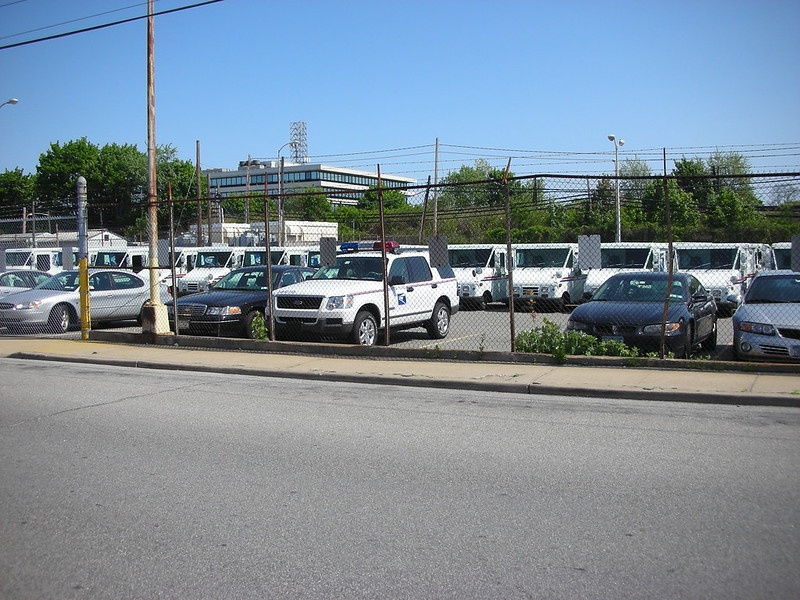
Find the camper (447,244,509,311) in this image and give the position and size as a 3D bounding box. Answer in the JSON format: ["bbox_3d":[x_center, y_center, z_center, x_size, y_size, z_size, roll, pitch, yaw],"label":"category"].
[{"bbox_3d":[2.764,-0.965,25.718,2.322,2.258,3.582,9,7,29],"label":"camper"}]

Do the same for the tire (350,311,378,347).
[{"bbox_3d":[-0.790,0.578,15.648,0.323,0.753,0.864,1,6,20],"label":"tire"}]

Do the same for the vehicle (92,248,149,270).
[{"bbox_3d":[-10.012,-1.524,26.336,1.042,0.903,1.572,0,-3,19],"label":"vehicle"}]

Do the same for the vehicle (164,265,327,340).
[{"bbox_3d":[-3.648,-0.055,17.697,1.423,1.174,3.204,-1,1,25],"label":"vehicle"}]

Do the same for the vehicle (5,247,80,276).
[{"bbox_3d":[-13.524,-1.500,27.771,1.893,1.096,1.340,0,1,-25],"label":"vehicle"}]

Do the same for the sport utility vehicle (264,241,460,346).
[{"bbox_3d":[-0.624,-0.041,16.667,1.943,1.756,3.664,-2,-2,34],"label":"sport utility vehicle"}]

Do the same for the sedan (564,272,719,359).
[{"bbox_3d":[4.819,0.260,14.555,2.114,1.819,3.348,4,8,37],"label":"sedan"}]

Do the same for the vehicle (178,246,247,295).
[{"bbox_3d":[-6.907,-1.217,26.477,1.568,1.752,2.897,0,3,10],"label":"vehicle"}]

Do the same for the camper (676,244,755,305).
[{"bbox_3d":[9.161,-1.060,21.912,1.964,2.172,3.557,-1,1,32],"label":"camper"}]

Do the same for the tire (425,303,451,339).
[{"bbox_3d":[0.892,0.437,17.651,0.242,0.809,0.715,2,6,33],"label":"tire"}]

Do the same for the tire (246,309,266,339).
[{"bbox_3d":[-3.229,0.524,16.602,0.472,0.601,0.593,-5,7,-34],"label":"tire"}]

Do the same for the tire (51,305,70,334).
[{"bbox_3d":[-8.996,0.472,19.373,0.238,0.735,0.660,0,2,19],"label":"tire"}]

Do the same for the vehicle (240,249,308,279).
[{"bbox_3d":[-4.750,-1.685,27.282,1.397,1.201,2.104,0,-1,28],"label":"vehicle"}]
